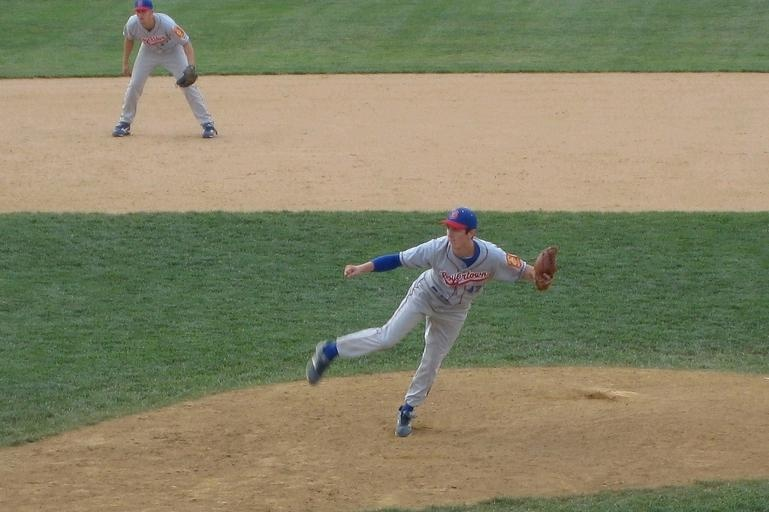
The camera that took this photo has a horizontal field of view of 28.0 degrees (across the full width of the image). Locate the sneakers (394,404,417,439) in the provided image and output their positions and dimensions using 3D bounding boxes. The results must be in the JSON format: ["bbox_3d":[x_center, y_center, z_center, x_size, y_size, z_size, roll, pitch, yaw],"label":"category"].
[{"bbox_3d":[0.327,2.701,25.412,0.239,0.608,0.286,2,-1,-9],"label":"sneakers"}]

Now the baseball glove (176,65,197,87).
[{"bbox_3d":[-4.150,-3.770,32.492,0.476,0.181,0.349,-32,7,21],"label":"baseball glove"}]

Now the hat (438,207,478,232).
[{"bbox_3d":[1.230,-0.575,25.139,0.532,0.289,0.358,20,8,-13],"label":"hat"}]
